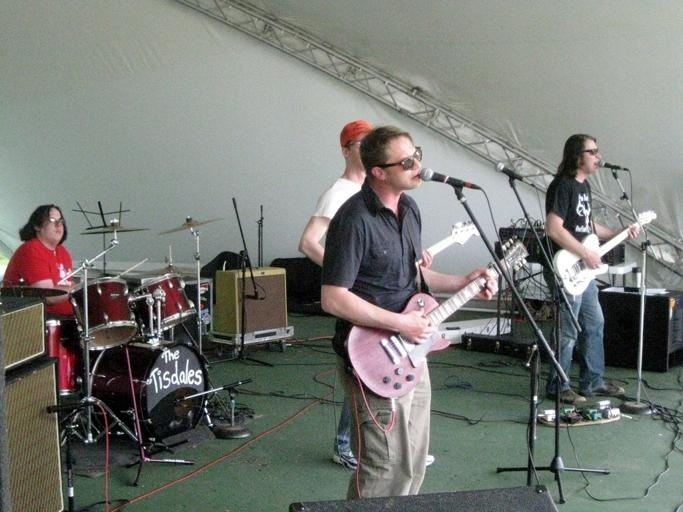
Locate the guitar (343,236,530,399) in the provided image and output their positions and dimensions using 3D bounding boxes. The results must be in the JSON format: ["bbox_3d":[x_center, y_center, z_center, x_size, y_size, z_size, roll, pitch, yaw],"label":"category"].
[{"bbox_3d":[0.737,0.497,4.352,1.481,0.564,0.197,-38,8,-18],"label":"guitar"}]

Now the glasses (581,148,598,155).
[{"bbox_3d":[2.056,-0.847,5.091,0.173,0.051,0.070,-1,-1,-40],"label":"glasses"}]

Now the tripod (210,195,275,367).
[{"bbox_3d":[-1.031,0.247,7.039,0.367,1.912,0.975,-2,0,-10],"label":"tripod"}]

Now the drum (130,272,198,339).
[{"bbox_3d":[-1.415,0.420,4.909,0.434,0.334,0.459,-29,-23,-13],"label":"drum"}]

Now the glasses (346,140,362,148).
[{"bbox_3d":[0.072,-0.726,4.038,0.061,0.019,0.062,-24,2,32],"label":"glasses"}]

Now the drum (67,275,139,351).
[{"bbox_3d":[-1.764,0.442,4.631,0.446,0.553,0.399,-2,0,-25],"label":"drum"}]

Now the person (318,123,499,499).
[{"bbox_3d":[0.179,0.280,3.195,0.561,1.835,0.335,-2,0,-2],"label":"person"}]

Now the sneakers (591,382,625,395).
[{"bbox_3d":[2.371,1.197,5.542,0.309,0.139,0.118,-4,8,-6],"label":"sneakers"}]

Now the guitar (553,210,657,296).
[{"bbox_3d":[2.526,-0.017,5.913,0.980,0.362,0.142,-36,18,-19],"label":"guitar"}]

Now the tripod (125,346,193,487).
[{"bbox_3d":[-1.365,1.107,4.523,0.420,0.996,0.666,-2,0,-28],"label":"tripod"}]
